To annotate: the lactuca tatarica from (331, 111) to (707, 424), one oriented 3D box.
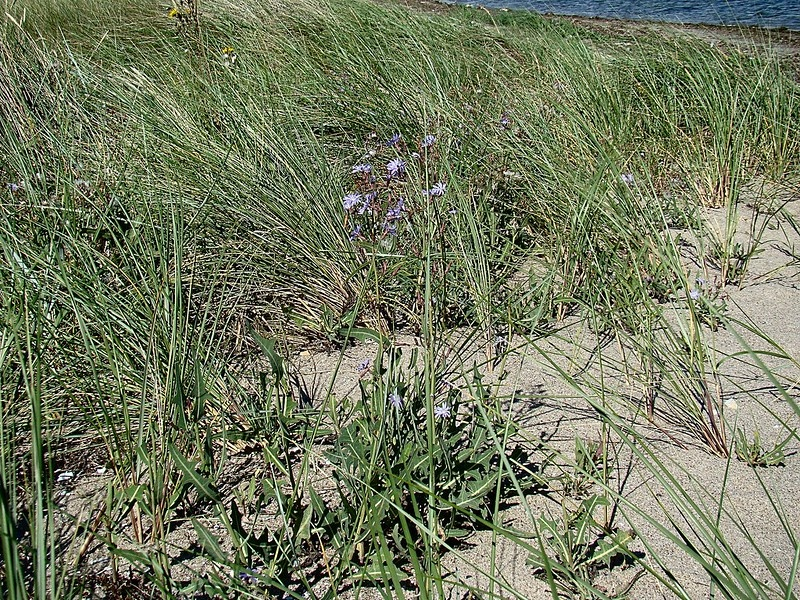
[{"bbox_3d":[0.446,-0.115,3.263,1.066,0.670,1.248,3,24,-1],"label":"lactuca tatarica"}]
